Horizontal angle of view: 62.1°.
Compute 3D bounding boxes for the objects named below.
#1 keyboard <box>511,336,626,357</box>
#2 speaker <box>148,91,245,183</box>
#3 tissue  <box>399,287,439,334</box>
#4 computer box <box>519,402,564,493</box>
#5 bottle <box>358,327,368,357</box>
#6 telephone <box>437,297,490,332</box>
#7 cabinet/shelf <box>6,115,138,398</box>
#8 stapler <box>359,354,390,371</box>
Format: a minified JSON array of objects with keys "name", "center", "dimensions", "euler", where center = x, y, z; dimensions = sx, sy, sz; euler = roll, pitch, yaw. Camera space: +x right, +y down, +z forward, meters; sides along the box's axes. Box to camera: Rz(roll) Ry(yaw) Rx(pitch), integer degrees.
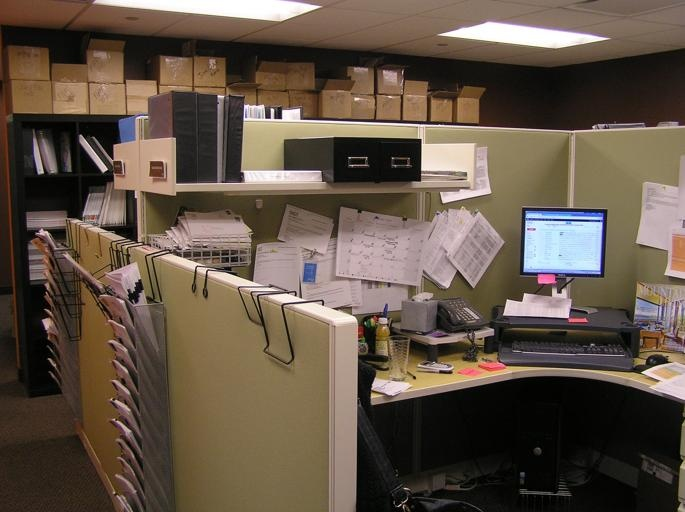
[{"name":"keyboard","center":[1.075,0.441,2.746],"dimensions":[0.533,0.022,0.145],"euler":[1,11,6]},{"name":"speaker","center":[-0.550,-0.465,2.243],"dimensions":[0.357,0.379,0.184],"euler":[-3,15,-33]},{"name":"tissue ","center":[0.364,0.288,2.728],"dimensions":[0.181,0.153,0.104],"euler":[1,11,4]},{"name":"computer box","center":[1.064,1.018,3.199],"dimensions":[0.251,0.477,0.269],"euler":[3,7,13]},{"name":"bottle","center":[0.095,0.399,2.676],"dimensions":[0.038,0.115,0.105],"euler":[1,11,7]},{"name":"telephone","center":[0.568,0.279,2.817],"dimensions":[0.234,0.151,0.200],"euler":[1,9,-22]},{"name":"cabinet/shelf","center":[-2.276,-0.159,4.608],"dimensions":[1.191,2.443,0.613],"euler":[-2,12,-36]},{"name":"stapler","center":[0.141,0.482,2.605],"dimensions":[0.136,0.036,0.102],"euler":[0,4,-24]}]
